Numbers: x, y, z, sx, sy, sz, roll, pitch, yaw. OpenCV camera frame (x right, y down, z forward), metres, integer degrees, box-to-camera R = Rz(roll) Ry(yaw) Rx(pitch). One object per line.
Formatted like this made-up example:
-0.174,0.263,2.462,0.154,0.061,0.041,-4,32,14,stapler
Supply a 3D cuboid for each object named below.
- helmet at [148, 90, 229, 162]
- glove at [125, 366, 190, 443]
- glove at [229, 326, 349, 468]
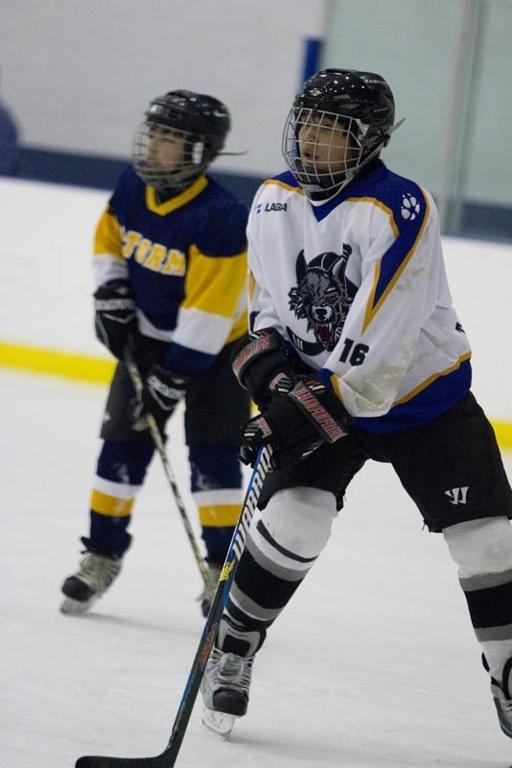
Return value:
-0.168,-0.623,2.095,0.175,0.147,0.223,26,21,39,helmet
-0.249,0.061,2.109,0.047,0.140,0.101,50,22,-9,glove
0.035,0.010,1.425,0.107,0.226,0.213,-11,68,-42,glove
